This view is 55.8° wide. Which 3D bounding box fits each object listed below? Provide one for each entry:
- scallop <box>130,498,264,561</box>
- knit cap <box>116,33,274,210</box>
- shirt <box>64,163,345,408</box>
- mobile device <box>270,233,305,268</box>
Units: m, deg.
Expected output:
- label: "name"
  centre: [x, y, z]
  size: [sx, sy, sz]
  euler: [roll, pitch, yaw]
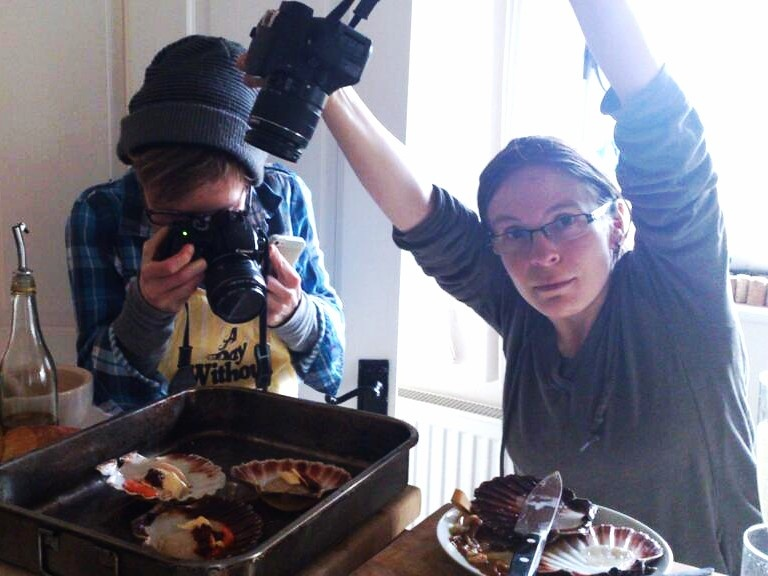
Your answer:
- label: "scallop"
  centre: [-0.266, 0.360, 1.081]
  size: [0.169, 0.044, 0.205]
  euler: [2, -2, -32]
- label: "knit cap"
  centre: [-0.361, -0.336, 1.529]
  size: [0.280, 0.250, 0.276]
  euler: [-2, 1, 15]
- label: "shirt"
  centre: [-0.520, 0.031, 1.828]
  size: [0.618, 0.601, 0.265]
  euler: [-2, 18, -1]
- label: "mobile device"
  centre: [-0.209, -0.085, 1.590]
  size: [0.066, 0.016, 0.069]
  euler: [5, -45, -5]
